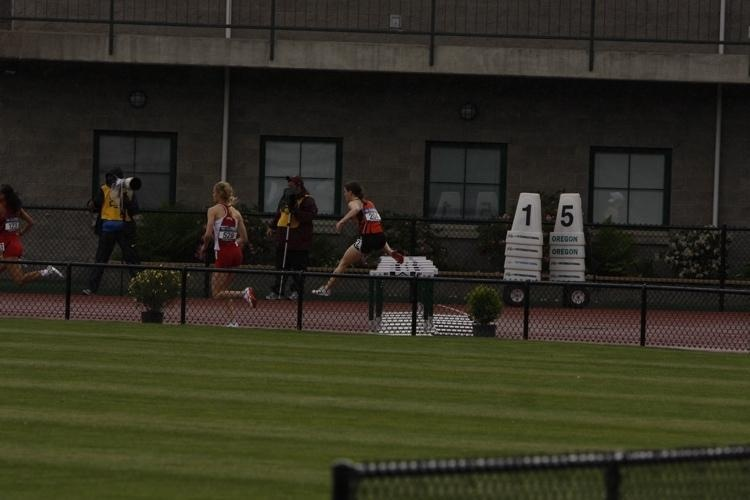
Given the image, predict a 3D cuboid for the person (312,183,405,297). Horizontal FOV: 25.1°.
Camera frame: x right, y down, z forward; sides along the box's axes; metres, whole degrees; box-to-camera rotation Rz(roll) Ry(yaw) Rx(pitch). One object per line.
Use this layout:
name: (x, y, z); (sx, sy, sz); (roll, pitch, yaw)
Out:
person: (-0.262, -0.341, 31.085); (1.218, 2.265, 0.830); (0, 0, -1)

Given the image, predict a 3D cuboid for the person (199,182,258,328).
person: (-2.603, -0.002, 29.516); (1.016, 2.676, 0.912); (1, -4, -32)

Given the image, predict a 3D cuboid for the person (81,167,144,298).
person: (-4.782, -0.683, 31.002); (0.873, 1.771, 0.775); (3, -1, -10)

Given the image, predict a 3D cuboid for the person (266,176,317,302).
person: (-1.560, -0.288, 31.069); (0.670, 2.187, 0.734); (-1, -3, 9)
